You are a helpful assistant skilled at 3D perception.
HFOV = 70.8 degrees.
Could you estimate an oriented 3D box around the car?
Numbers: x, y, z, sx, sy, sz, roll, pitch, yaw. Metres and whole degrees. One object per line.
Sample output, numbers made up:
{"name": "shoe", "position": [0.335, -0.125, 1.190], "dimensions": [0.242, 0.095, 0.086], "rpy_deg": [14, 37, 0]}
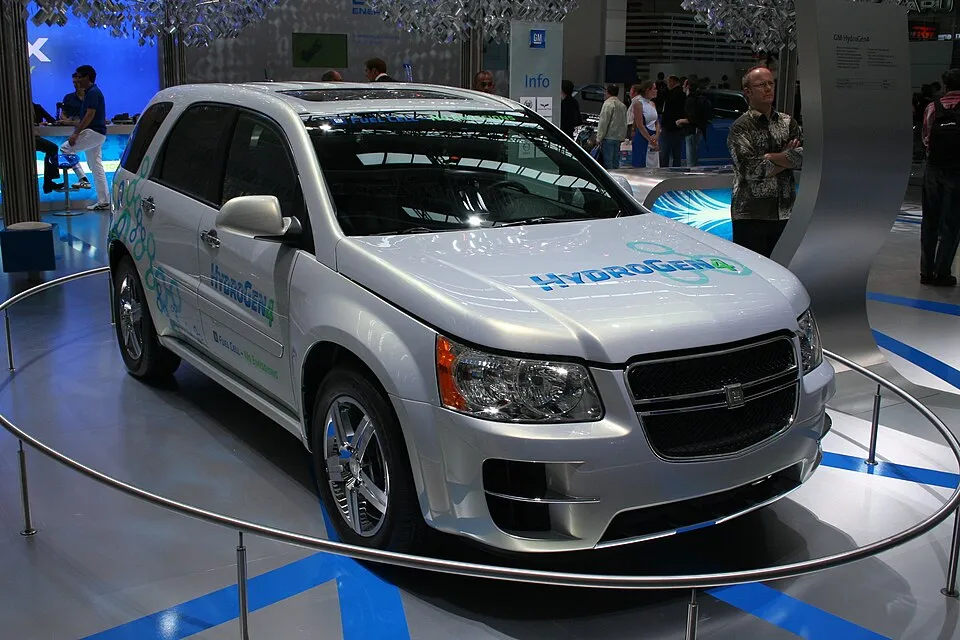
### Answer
{"name": "car", "position": [-0.622, -0.358, 4.450], "dimensions": [5.253, 2.284, 2.175], "rpy_deg": [15, 22, 39]}

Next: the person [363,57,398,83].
{"name": "person", "position": [-1.514, -3.642, 9.832], "dimensions": [0.315, 0.369, 1.521], "rpy_deg": [-2, 18, -9]}

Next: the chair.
{"name": "chair", "position": [-0.976, -0.747, 3.764], "dimensions": [0.381, 0.688, 0.180], "rpy_deg": [-6, 5, 16]}

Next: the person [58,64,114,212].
{"name": "person", "position": [-7.092, -3.247, 12.113], "dimensions": [0.720, 2.447, 0.907], "rpy_deg": [-10, 19, -30]}

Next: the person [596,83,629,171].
{"name": "person", "position": [2.815, -3.954, 14.621], "dimensions": [0.729, 2.100, 0.647], "rpy_deg": [-13, 18, -41]}
